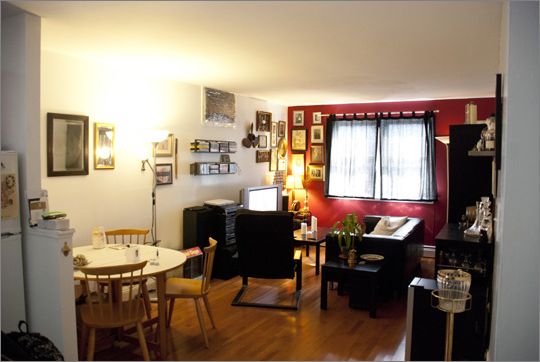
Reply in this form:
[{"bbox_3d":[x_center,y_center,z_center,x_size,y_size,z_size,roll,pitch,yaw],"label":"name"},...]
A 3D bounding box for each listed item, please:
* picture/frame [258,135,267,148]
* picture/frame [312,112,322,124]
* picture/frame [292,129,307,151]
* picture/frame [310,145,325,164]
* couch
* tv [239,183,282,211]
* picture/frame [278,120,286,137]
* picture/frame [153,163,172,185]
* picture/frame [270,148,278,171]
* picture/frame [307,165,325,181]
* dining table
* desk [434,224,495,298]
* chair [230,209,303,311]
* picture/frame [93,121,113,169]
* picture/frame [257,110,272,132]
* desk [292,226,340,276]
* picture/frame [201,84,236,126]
[{"bbox_3d":[-0.168,-0.813,8.153,0.037,0.191,0.277,1,3,27],"label":"picture/frame"},{"bbox_3d":[1.023,-1.378,8.710,0.257,0.283,0.031,6,13,24],"label":"picture/frame"},{"bbox_3d":[0.659,-0.920,8.928,0.471,0.542,0.056,4,8,27],"label":"picture/frame"},{"bbox_3d":[1.033,-0.589,8.748,0.393,0.464,0.066,3,7,30],"label":"picture/frame"},{"bbox_3d":[1.601,0.734,6.035,0.963,0.787,1.790,2,5,28],"label":"couch"},{"bbox_3d":[-0.187,0.355,7.540,0.218,0.586,1.445,5,9,27],"label":"tv"},{"bbox_3d":[0.245,-1.154,8.784,0.027,0.372,0.380,1,3,28],"label":"picture/frame"},{"bbox_3d":[-1.634,-0.113,5.998,0.026,0.332,0.341,0,0,35],"label":"picture/frame"},{"bbox_3d":[0.059,-0.471,8.581,0.076,0.552,0.484,1,3,25],"label":"picture/frame"},{"bbox_3d":[1.011,-0.171,8.750,0.352,0.329,0.027,2,2,29],"label":"picture/frame"},{"bbox_3d":[-1.457,1.360,4.600,1.198,0.870,1.210,0,1,21],"label":"dining table"},{"bbox_3d":[2.114,0.852,4.360,0.569,0.714,0.425,1,4,28],"label":"desk"},{"bbox_3d":[-0.056,0.958,5.322,1.082,1.502,1.277,0,-1,8],"label":"chair"},{"bbox_3d":[-2.205,-0.446,5.279,0.039,0.596,0.308,2,2,26],"label":"picture/frame"},{"bbox_3d":[-0.135,-1.221,8.130,0.036,0.339,0.479,3,3,26],"label":"picture/frame"},{"bbox_3d":[0.753,0.995,6.751,0.641,0.553,1.184,1,5,22],"label":"desk"},{"bbox_3d":[-0.919,-1.310,6.874,0.103,0.488,0.701,-2,0,29],"label":"picture/frame"}]
